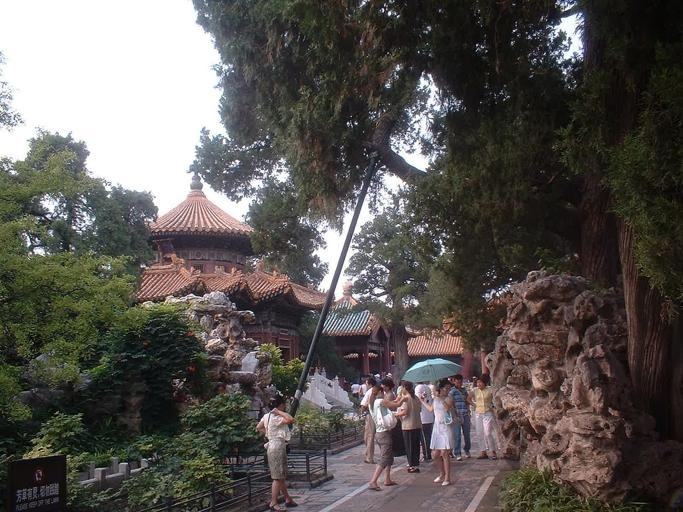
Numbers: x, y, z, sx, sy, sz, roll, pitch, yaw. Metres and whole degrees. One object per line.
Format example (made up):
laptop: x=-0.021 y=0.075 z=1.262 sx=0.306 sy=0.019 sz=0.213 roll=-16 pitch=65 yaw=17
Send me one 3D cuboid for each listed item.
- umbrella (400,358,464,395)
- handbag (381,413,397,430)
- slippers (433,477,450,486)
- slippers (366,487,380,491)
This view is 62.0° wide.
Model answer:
umbrella: x=1.921 y=2.633 z=12.690 sx=0.836 sy=0.319 sz=0.887 roll=-14 pitch=-24 yaw=-18
handbag: x=0.857 y=2.796 z=9.868 sx=0.200 sy=0.404 sz=0.380 roll=-3 pitch=-11 yaw=26
slippers: x=1.733 y=3.945 z=9.944 sx=0.350 sy=0.069 sz=0.306 roll=-8 pitch=-8 yaw=32
slippers: x=0.535 y=3.968 z=9.691 sx=0.209 sy=0.064 sz=0.082 roll=-4 pitch=-10 yaw=10
